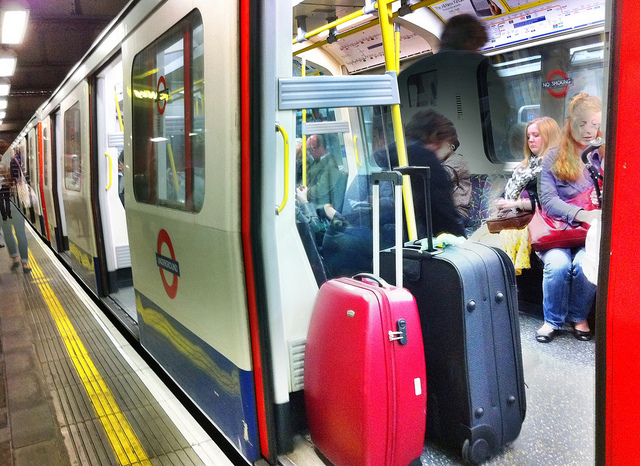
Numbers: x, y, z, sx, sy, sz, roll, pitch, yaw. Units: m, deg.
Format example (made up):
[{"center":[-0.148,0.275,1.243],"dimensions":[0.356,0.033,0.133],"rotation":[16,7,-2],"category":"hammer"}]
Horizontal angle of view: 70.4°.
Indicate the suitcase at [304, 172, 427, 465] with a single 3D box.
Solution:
[{"center":[0.211,0.456,2.420],"dimensions":[0.502,1.520,0.570],"rotation":[-9,12,-28],"category":"suitcase"}]
